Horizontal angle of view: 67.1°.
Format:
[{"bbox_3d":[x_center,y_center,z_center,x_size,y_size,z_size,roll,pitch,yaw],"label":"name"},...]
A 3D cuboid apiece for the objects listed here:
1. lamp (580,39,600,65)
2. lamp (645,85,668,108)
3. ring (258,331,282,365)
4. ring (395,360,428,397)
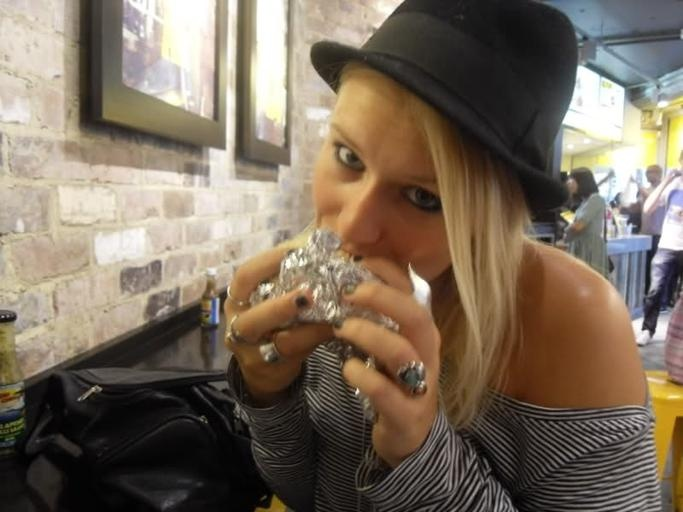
[{"bbox_3d":[1.996,-1.623,4.119,0.047,0.203,0.178,11,-17,-36],"label":"lamp"},{"bbox_3d":[2.804,-1.410,4.549,0.096,0.210,0.191,-5,9,20],"label":"lamp"},{"bbox_3d":[-0.139,0.172,0.990,0.049,0.057,0.039,-20,5,5],"label":"ring"},{"bbox_3d":[0.122,0.216,0.914,0.022,0.080,0.067,19,49,12],"label":"ring"}]
